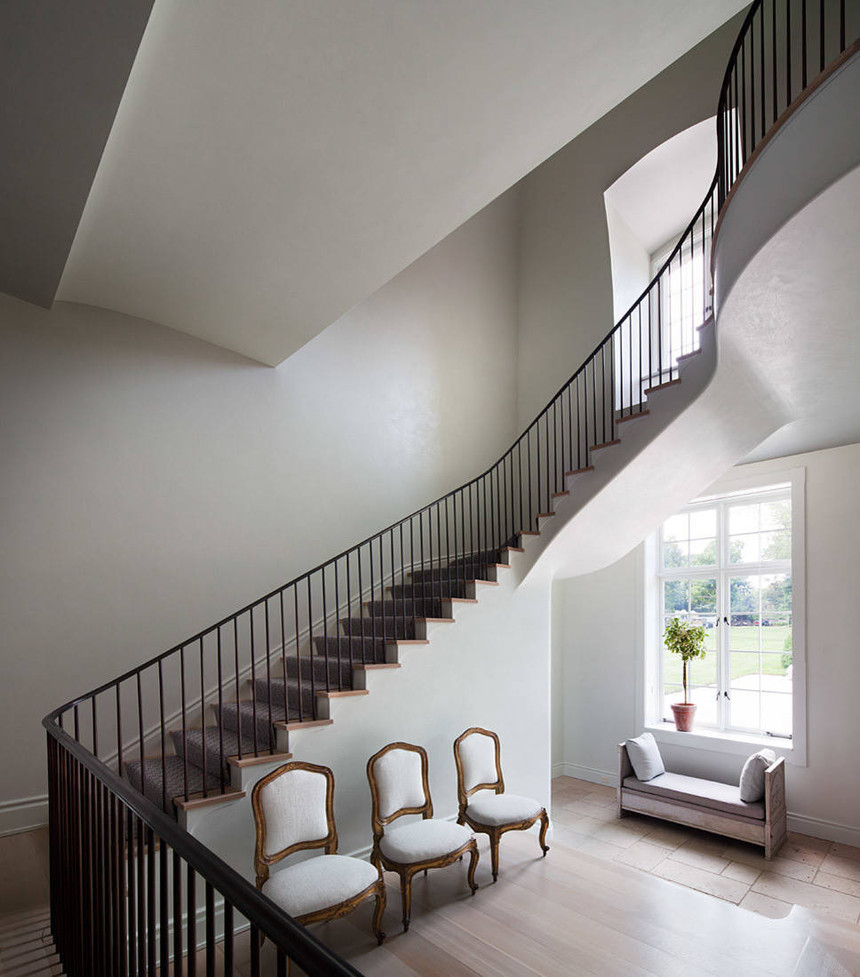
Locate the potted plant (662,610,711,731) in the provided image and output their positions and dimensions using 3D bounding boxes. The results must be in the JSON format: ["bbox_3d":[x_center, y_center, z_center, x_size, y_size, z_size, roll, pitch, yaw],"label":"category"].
[{"bbox_3d":[2.231,1.605,6.819,0.359,1.008,0.599,0,-4,20],"label":"potted plant"}]

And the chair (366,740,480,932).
[{"bbox_3d":[-0.078,1.908,4.370,0.460,0.921,0.540,-12,-9,40],"label":"chair"}]

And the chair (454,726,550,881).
[{"bbox_3d":[0.419,1.924,4.850,0.461,0.852,0.458,-2,-9,-29],"label":"chair"}]

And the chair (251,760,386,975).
[{"bbox_3d":[-0.572,1.860,3.833,0.461,0.989,0.579,-9,-7,36],"label":"chair"}]

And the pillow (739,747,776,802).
[{"bbox_3d":[2.286,2.044,5.478,0.228,0.344,0.362,0,-5,25],"label":"pillow"}]
